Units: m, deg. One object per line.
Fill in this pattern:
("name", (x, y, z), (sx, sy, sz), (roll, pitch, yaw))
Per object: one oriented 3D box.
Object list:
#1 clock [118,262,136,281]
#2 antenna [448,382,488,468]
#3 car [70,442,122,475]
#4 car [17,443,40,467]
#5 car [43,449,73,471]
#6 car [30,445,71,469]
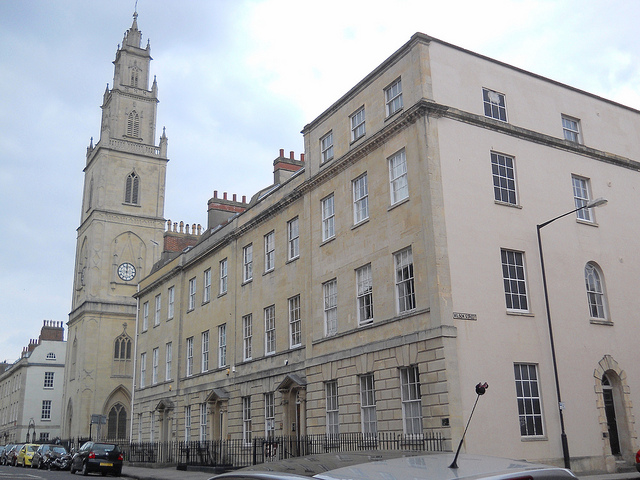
("clock", (-23.021, 3.810, 71.699), (1.735, 1.855, 0.152), (21, -33, -36))
("antenna", (3.810, 4.784, 15.484), (0.376, 2.316, 0.521), (21, -15, 17))
("car", (-12.251, 11.828, 32.357), (1.520, 1.719, 6.242), (15, -29, -34))
("car", (-20.555, 15.196, 42.612), (1.331, 1.084, 2.094), (14, -33, -30))
("car", (-16.304, 13.843, 37.852), (1.115, 1.402, 2.410), (20, -31, -41))
("car", (-17.150, 13.956, 38.661), (1.497, 1.116, 3.132), (13, -21, -30))
